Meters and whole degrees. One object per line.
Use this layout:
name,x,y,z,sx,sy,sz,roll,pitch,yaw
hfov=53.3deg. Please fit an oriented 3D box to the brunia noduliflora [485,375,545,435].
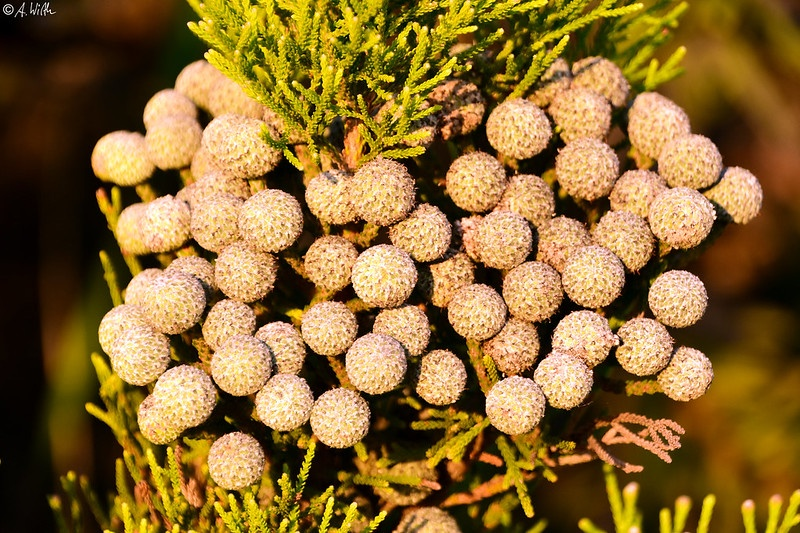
brunia noduliflora,0.480,0.586,3.244,0.210,0.126,0.246,-11,91,5

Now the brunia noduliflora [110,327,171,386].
brunia noduliflora,-1.132,0.396,3.496,0.260,0.225,0.243,-3,79,2

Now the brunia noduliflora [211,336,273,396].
brunia noduliflora,-0.666,0.417,3.255,0.212,0.117,0.255,-2,81,0

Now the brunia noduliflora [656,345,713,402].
brunia noduliflora,1.256,0.468,3.569,0.179,0.243,0.224,10,114,1

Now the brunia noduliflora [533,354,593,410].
brunia noduliflora,0.690,0.474,3.323,0.193,0.145,0.244,-3,91,4

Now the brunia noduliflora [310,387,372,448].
brunia noduliflora,-0.260,0.615,3.314,0.211,0.126,0.248,-5,84,-6
